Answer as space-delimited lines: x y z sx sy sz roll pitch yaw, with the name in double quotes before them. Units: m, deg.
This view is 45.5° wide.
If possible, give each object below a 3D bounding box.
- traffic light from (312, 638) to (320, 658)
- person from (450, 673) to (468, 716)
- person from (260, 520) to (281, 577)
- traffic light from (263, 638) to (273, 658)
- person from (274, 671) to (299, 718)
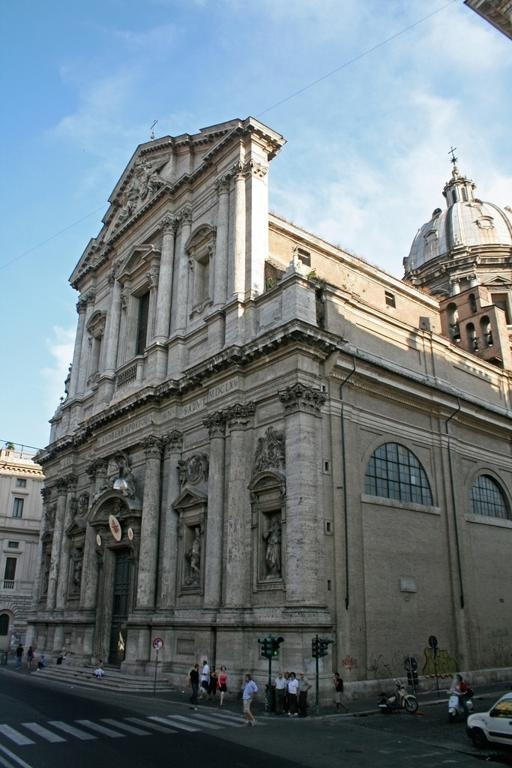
"traffic light" 1.879 8.220 19.039 0.247 0.587 0.634 -1 -23 3
"person" 5.677 8.787 17.236 0.454 1.070 0.682 -12 -26 27
"person" 0.606 6.170 23.271 0.399 2.320 1.253 6 -23 -14
"traffic light" 0.353 8.010 18.585 0.286 0.549 0.590 2 -23 -4
"person" 0.986 9.323 18.413 0.725 1.115 0.968 14 -26 -30
